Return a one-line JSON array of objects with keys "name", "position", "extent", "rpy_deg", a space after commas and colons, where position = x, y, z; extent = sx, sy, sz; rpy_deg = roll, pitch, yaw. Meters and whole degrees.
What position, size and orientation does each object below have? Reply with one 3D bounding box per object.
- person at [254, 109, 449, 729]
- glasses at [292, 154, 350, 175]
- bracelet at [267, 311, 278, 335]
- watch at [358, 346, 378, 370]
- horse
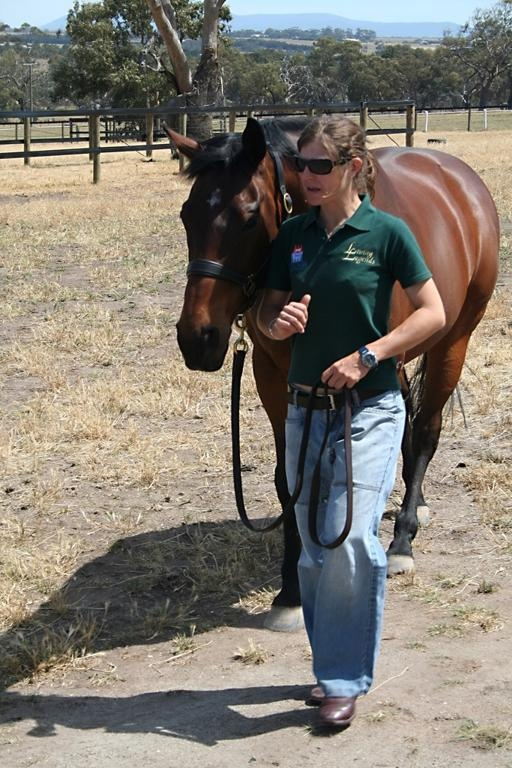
[{"name": "person", "position": [0.285, 0.075, 2.184], "extent": [0.504, 1.655, 0.430], "rpy_deg": [-7, 0, 0]}, {"name": "glasses", "position": [0.182, -0.579, 2.064], "extent": [0.080, 0.025, 0.086], "rpy_deg": [6, 8, 38]}, {"name": "bracelet", "position": [0.048, -0.171, 2.198], "extent": [0.027, 0.064, 0.050], "rpy_deg": [3, -13, 14]}, {"name": "watch", "position": [0.287, -0.063, 1.975], "extent": [0.042, 0.063, 0.060], "rpy_deg": [-35, -8, 4]}, {"name": "horse", "position": [0.490, -0.267, 3.549], "extent": [0.635, 1.795, 2.360], "rpy_deg": [13, 24, 33]}]
